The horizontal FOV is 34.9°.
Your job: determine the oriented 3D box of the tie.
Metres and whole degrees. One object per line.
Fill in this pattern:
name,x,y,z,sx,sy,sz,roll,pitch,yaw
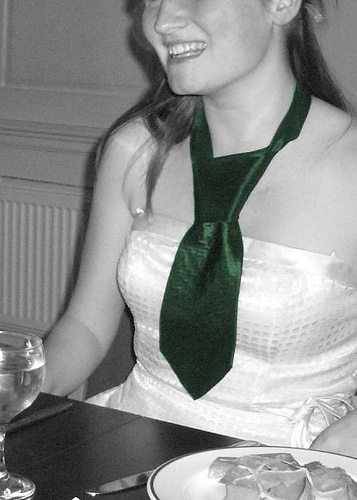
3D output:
tie,0.074,-0.027,0.976,0.236,0.029,0.562,7,60,13
